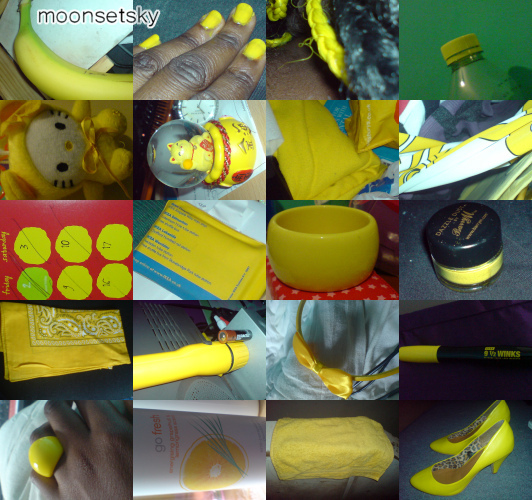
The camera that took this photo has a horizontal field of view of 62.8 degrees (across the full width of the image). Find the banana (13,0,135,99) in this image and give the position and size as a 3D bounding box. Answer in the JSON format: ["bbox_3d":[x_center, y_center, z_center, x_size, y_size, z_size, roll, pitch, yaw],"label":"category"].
[{"bbox_3d":[-0.386,-0.390,0.845,0.210,0.189,0.072,4,31,19],"label":"banana"}]

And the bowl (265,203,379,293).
[{"bbox_3d":[0.092,-0.025,0.800,0.185,0.111,0.192,-2,24,1],"label":"bowl"}]
